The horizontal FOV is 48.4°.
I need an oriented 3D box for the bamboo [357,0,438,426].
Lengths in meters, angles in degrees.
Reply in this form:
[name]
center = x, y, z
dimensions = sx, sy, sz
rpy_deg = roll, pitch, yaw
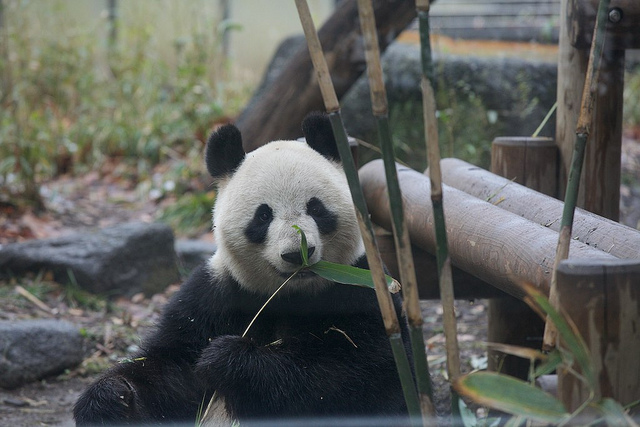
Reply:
[bamboo]
center = 0.339, 0.051, 2.989
dimensions = 0.407, 1.822, 0.250
rpy_deg = 1, 8, 1
